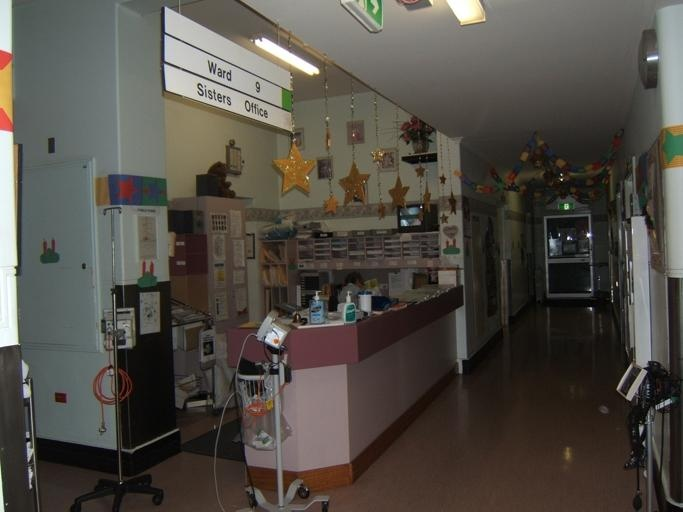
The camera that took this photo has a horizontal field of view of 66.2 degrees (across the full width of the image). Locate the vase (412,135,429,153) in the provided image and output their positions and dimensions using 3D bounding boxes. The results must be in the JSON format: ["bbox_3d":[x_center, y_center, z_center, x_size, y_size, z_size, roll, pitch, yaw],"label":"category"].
[{"bbox_3d":[1.274,-1.802,8.364,0.240,0.302,0.258,1,-5,5],"label":"vase"}]

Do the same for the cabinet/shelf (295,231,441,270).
[{"bbox_3d":[0.441,-0.061,9.363,2.620,0.687,0.374,-3,-8,23],"label":"cabinet/shelf"}]

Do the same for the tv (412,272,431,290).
[{"bbox_3d":[1.338,0.395,8.820,0.221,0.241,0.338,-2,5,-8],"label":"tv"}]

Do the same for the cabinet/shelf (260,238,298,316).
[{"bbox_3d":[-1.148,0.504,9.800,0.589,1.695,0.415,-2,4,0],"label":"cabinet/shelf"}]

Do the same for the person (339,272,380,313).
[{"bbox_3d":[0.231,0.460,7.758,0.456,0.875,0.364,-5,9,-27],"label":"person"}]
